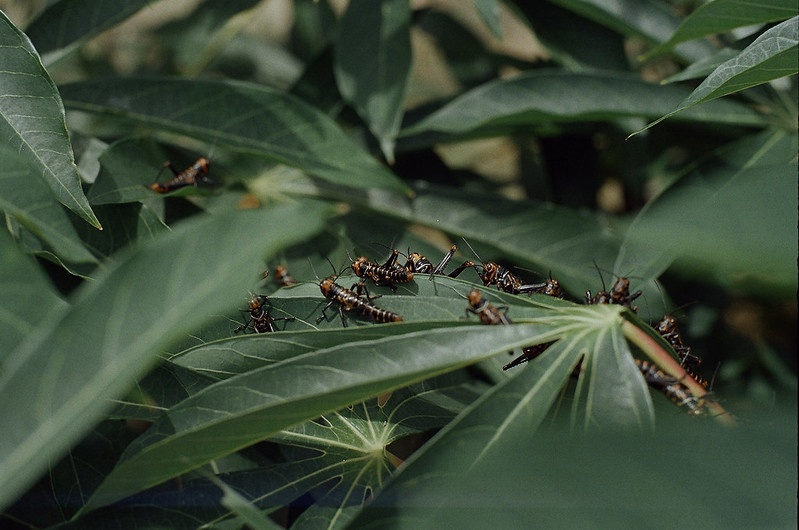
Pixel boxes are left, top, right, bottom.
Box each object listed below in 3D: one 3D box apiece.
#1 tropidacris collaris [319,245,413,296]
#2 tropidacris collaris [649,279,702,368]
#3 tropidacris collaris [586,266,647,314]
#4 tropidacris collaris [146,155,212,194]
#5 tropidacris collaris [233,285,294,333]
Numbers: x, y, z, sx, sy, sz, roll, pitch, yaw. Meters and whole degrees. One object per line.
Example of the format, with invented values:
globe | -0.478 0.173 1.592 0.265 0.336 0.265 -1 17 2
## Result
tropidacris collaris | -0.132 0.028 3.567 0.419 0.111 0.301 6 28 31
tropidacris collaris | 1.445 0.299 3.688 0.316 0.397 0.125 -28 -3 -45
tropidacris collaris | 1.151 0.141 3.686 0.251 0.116 0.195 -34 61 -17
tropidacris collaris | -1.143 -0.452 3.652 0.240 0.213 0.072 -34 -22 3
tropidacris collaris | -0.690 0.235 3.450 0.204 0.243 0.075 -3 8 13
